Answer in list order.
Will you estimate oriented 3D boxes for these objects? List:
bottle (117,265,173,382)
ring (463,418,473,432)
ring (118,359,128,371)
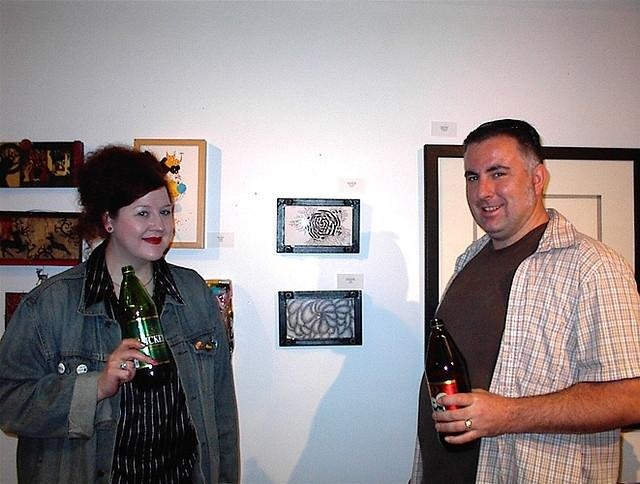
[{"bbox_3d":[-0.595,0.281,1.861,0.135,0.379,0.238,-1,0,-43],"label":"bottle"},{"bbox_3d":[0.459,0.571,1.732,0.022,0.030,0.027,-4,-17,11],"label":"ring"},{"bbox_3d":[-0.624,0.393,1.766,0.025,0.028,0.006,-1,0,-19],"label":"ring"}]
